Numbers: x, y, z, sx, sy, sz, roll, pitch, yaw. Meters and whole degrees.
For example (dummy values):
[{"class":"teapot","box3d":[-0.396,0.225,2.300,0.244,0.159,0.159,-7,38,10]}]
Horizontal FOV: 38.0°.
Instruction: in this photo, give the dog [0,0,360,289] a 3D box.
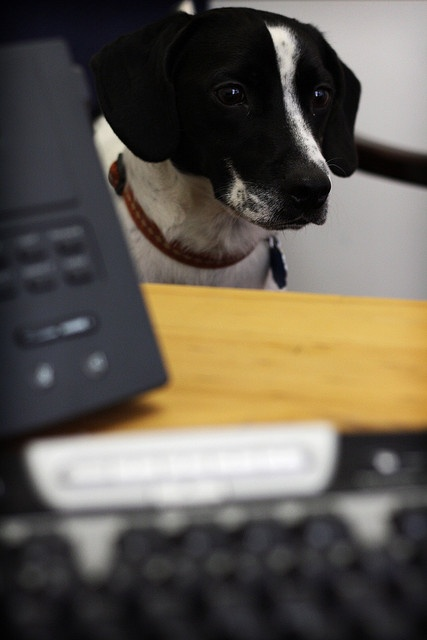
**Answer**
[{"class":"dog","box3d":[0.029,-0.275,1.127,0.445,0.528,0.468,8,45,11]}]
